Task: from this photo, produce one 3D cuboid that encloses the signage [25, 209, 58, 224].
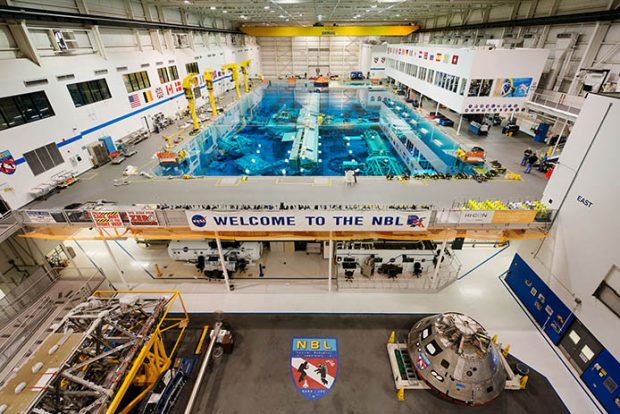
[{"bbox_3d":[-17.690,0.617,19.976,1.334,0.851,0.046,5,45,-4],"label":"signage"}]
